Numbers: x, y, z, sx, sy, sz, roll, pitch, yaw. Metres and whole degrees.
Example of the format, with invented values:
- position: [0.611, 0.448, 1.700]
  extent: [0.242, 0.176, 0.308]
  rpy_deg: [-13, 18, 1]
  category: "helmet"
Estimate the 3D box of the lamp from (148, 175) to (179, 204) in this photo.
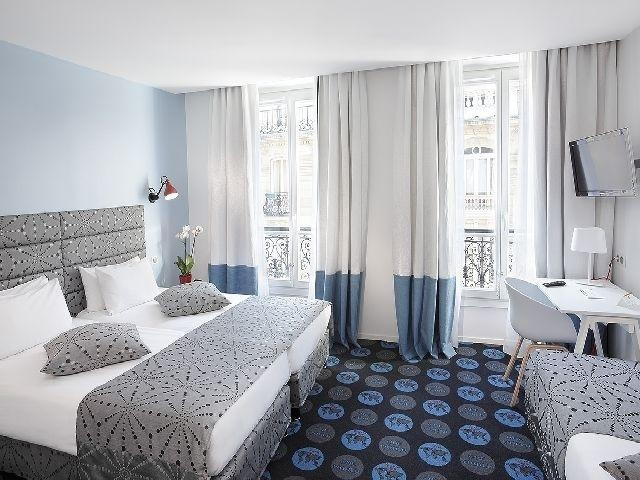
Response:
- position: [-1.688, -0.572, 4.689]
  extent: [0.449, 0.379, 0.197]
  rpy_deg: [-2, 4, 26]
  category: "lamp"

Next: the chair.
- position: [2.013, 0.860, 3.764]
  extent: [0.689, 1.085, 0.737]
  rpy_deg: [1, 13, 24]
  category: "chair"

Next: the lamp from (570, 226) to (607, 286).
- position: [2.429, 0.132, 3.776]
  extent: [0.261, 0.535, 0.434]
  rpy_deg: [9, 18, 34]
  category: "lamp"

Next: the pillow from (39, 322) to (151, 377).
- position: [-1.586, 0.747, 2.956]
  extent: [0.441, 0.165, 0.392]
  rpy_deg: [-3, 13, -40]
  category: "pillow"

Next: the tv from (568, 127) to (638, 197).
- position: [2.453, -0.650, 3.586]
  extent: [0.049, 0.505, 0.521]
  rpy_deg: [-22, -20, -25]
  category: "tv"

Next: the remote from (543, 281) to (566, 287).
- position: [2.098, 0.390, 3.732]
  extent: [0.144, 0.032, 0.082]
  rpy_deg: [-3, 2, -3]
  category: "remote"

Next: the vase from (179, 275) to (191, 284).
- position: [-1.544, 0.440, 4.844]
  extent: [0.135, 0.103, 0.111]
  rpy_deg: [-2, 1, -19]
  category: "vase"
